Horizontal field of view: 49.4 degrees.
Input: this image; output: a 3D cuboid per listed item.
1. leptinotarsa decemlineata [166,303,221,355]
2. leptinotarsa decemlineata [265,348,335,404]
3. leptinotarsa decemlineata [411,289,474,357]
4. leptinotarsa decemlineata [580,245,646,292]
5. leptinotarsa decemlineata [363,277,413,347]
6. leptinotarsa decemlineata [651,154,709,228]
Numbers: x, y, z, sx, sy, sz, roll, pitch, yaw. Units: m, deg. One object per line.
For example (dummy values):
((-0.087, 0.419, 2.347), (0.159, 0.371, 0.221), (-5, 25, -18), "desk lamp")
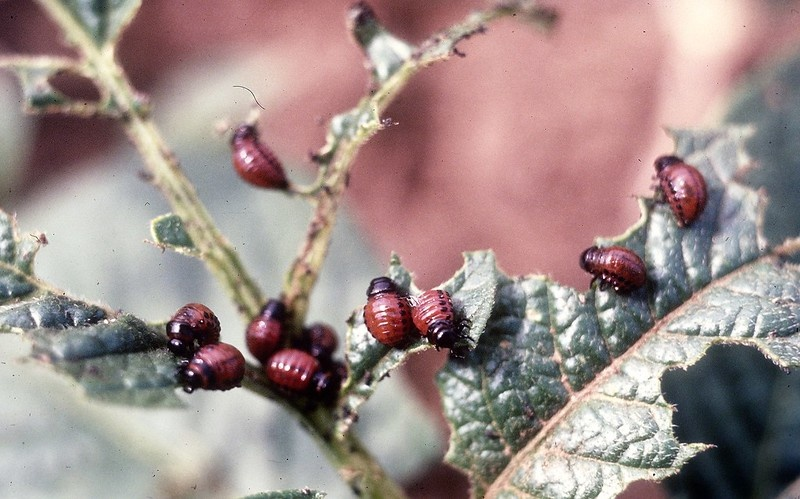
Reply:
((-1.318, 0.482, 5.456), (0.311, 0.423, 0.203), (8, -59, 8), "leptinotarsa decemlineata")
((-0.591, 0.758, 5.562), (0.385, 0.306, 0.470), (-6, 10, 0), "leptinotarsa decemlineata")
((0.264, 0.447, 5.348), (0.308, 0.409, 0.132), (-35, -13, 10), "leptinotarsa decemlineata")
((1.367, 0.119, 5.520), (0.332, 0.266, 0.175), (21, 5, 23), "leptinotarsa decemlineata")
((-0.079, 0.370, 5.438), (0.304, 0.479, 0.194), (-10, -22, 6), "leptinotarsa decemlineata")
((1.853, -0.428, 5.716), (0.309, 0.587, 0.302), (-17, -24, 24), "leptinotarsa decemlineata")
